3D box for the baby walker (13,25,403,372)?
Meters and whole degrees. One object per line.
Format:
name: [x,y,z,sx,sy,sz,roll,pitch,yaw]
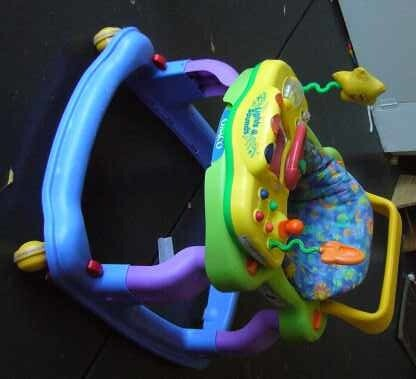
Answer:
baby walker: [0.050,0.023,1.194,0.785,0.631,0.801,-1,64,22]
